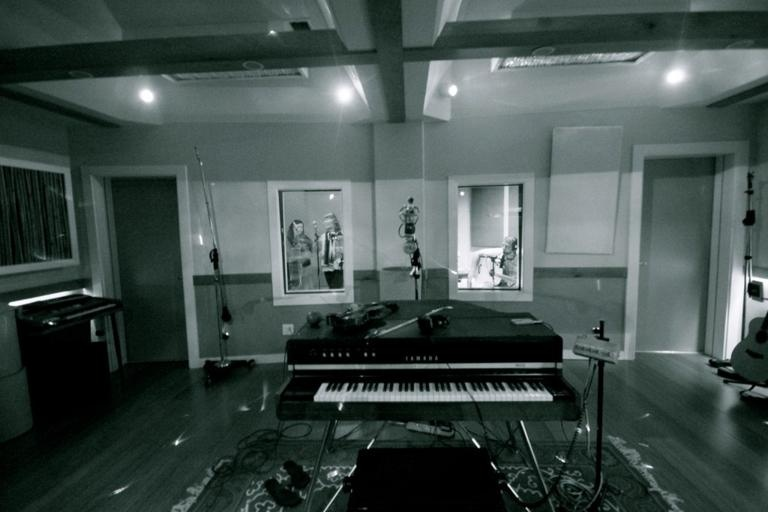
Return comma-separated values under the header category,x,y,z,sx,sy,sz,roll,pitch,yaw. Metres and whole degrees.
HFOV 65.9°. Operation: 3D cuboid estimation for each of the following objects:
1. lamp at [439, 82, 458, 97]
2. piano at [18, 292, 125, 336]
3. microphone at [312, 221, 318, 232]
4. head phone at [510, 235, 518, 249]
category,x,y,z,sx,sy,sz,roll,pitch,yaw
lamp,0.653,-1.682,5.977,0.137,0.145,0.148,11,32,23
piano,-2.939,0.528,5.542,0.853,0.338,0.176,-7,7,-40
microphone,-0.740,-0.323,6.416,0.041,0.133,0.034,2,4,4
head phone,1.335,-0.147,6.022,0.096,0.171,0.094,0,0,-15
